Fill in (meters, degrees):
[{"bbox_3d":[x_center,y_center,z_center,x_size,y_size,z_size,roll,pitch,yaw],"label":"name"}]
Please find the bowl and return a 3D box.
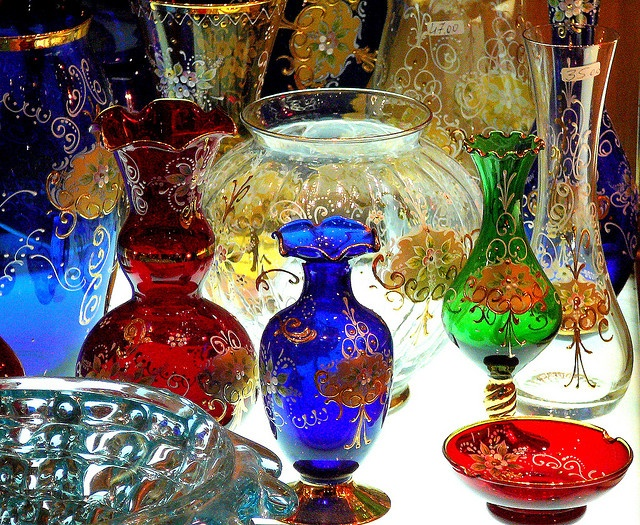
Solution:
[{"bbox_3d":[0.166,0.165,0.563,0.141,0.057,0.112,1,11,10],"label":"bowl"}]
